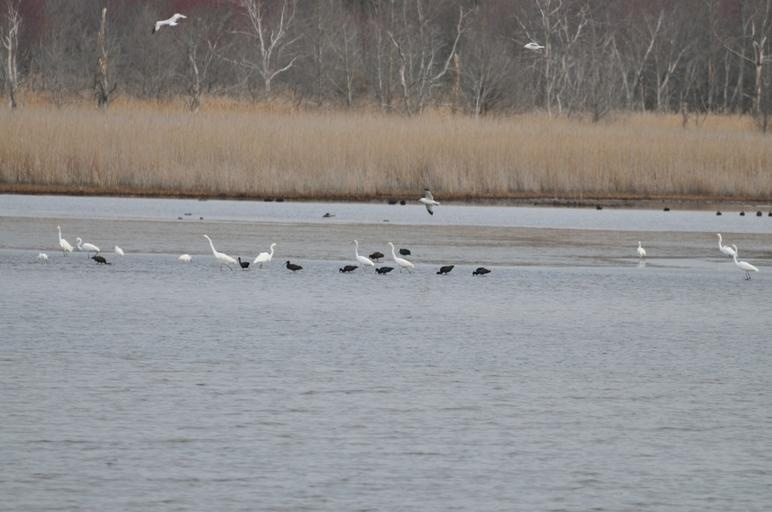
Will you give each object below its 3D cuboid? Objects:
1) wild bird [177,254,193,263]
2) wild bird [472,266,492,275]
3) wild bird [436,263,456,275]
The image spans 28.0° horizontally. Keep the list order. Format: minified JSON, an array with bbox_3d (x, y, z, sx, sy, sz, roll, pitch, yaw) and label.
[{"bbox_3d":[-3.923,0.051,30.622,0.124,0.193,0.384,-3,-5,-24],"label":"wild bird"},{"bbox_3d":[1.837,0.272,29.590,0.446,0.165,0.125,-7,12,4],"label":"wild bird"},{"bbox_3d":[1.260,0.249,29.672,0.461,0.170,0.128,-11,15,-25],"label":"wild bird"}]
